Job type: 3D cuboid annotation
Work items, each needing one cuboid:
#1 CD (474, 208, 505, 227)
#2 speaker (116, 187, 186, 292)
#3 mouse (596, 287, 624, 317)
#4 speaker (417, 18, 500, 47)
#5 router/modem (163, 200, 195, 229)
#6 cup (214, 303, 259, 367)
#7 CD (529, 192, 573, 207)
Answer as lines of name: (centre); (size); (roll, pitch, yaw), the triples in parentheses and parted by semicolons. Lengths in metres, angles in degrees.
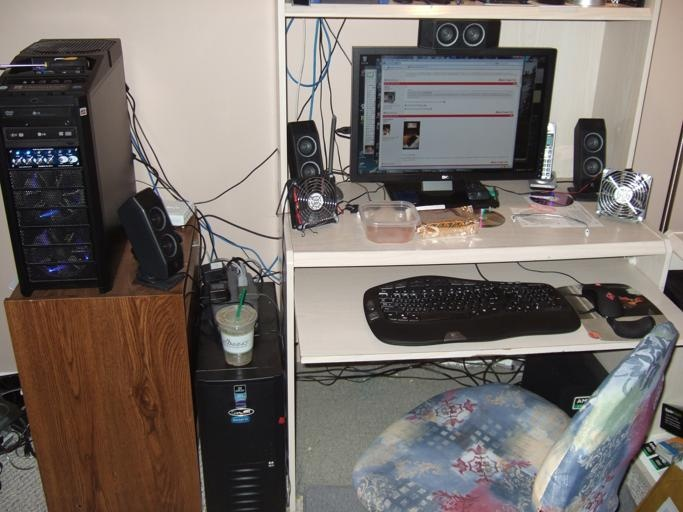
CD: (0.511, -0.131, 1.922); (0.096, 0.029, 0.142); (4, 21, 9)
speaker: (-0.594, -0.039, 1.737); (0.189, 0.333, 0.191); (5, 32, -1)
mouse: (0.874, 0.156, 1.838); (0.075, 0.062, 0.105); (9, 23, 20)
speaker: (0.391, -0.734, 1.866); (0.266, 0.087, 0.051); (-4, 21, -11)
router/modem: (-0.581, -0.156, 2.030); (0.088, 0.030, 0.127); (-16, 36, -18)
cup: (-0.345, 0.235, 1.861); (0.125, 0.183, 0.200); (-5, 22, -14)
CD: (0.775, -0.207, 2.045); (0.082, 0.012, 0.083); (-1, 26, 4)
